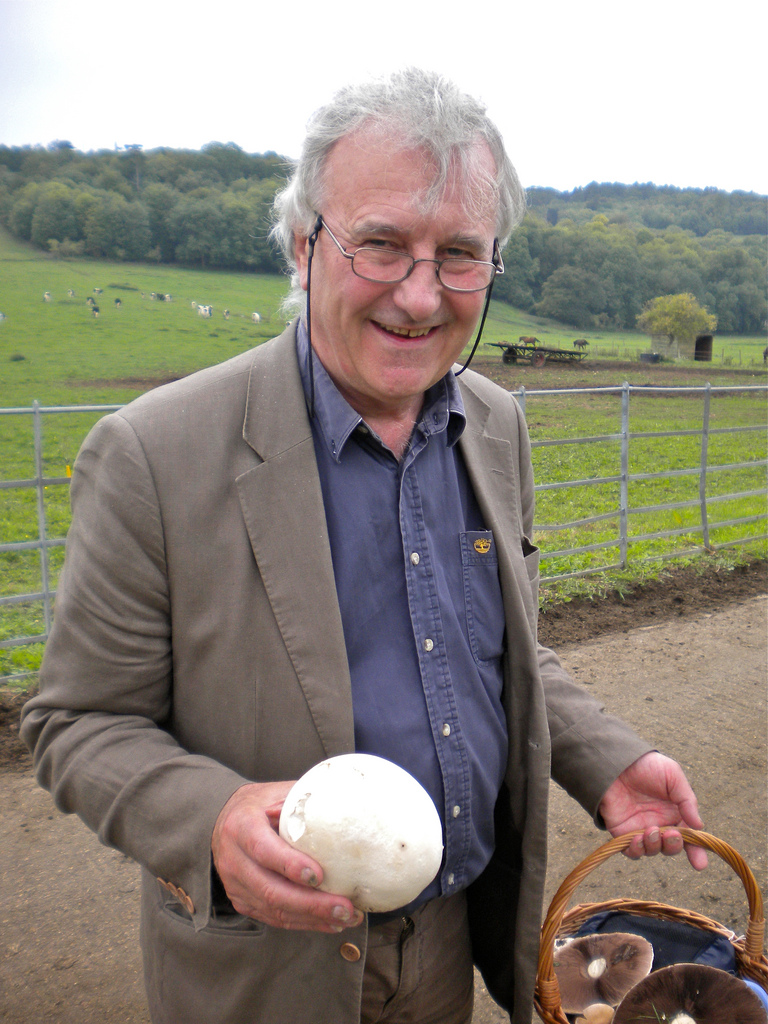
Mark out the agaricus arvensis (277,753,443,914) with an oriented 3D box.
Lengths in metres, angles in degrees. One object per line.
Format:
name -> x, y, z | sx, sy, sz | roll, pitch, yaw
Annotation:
agaricus arvensis -> -0.036, 0.493, 1.461 | 0.261, 0.136, 0.229 | 20, 42, 35
